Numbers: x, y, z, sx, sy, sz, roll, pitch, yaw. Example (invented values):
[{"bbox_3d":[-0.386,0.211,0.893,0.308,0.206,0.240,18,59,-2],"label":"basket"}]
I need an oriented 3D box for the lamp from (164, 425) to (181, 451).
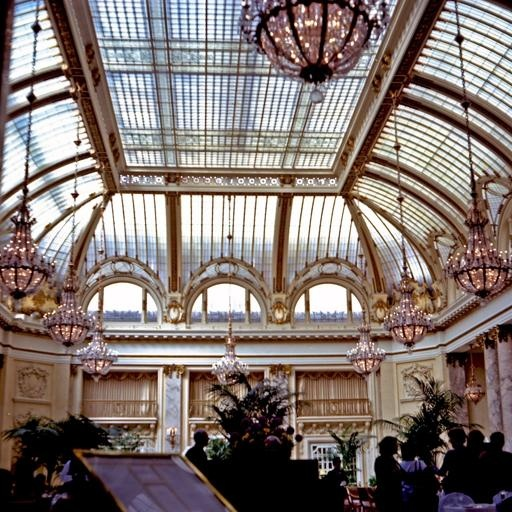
[{"bbox_3d":[-3.080,6.611,21.177,0.549,0.899,0.581,-5,-23,4],"label":"lamp"}]
